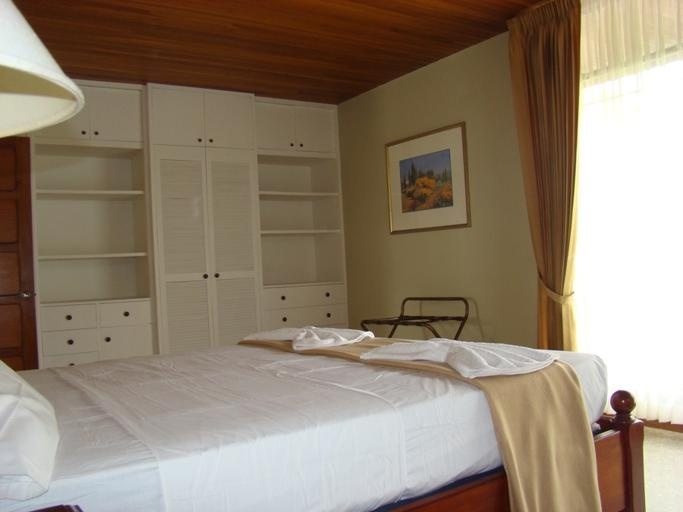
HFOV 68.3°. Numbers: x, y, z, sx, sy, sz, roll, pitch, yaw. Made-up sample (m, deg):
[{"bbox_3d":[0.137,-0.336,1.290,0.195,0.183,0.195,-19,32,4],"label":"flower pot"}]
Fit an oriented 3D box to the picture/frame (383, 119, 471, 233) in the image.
[{"bbox_3d":[0.809,-0.719,4.563,0.074,1.014,1.090,-5,0,-42],"label":"picture/frame"}]
